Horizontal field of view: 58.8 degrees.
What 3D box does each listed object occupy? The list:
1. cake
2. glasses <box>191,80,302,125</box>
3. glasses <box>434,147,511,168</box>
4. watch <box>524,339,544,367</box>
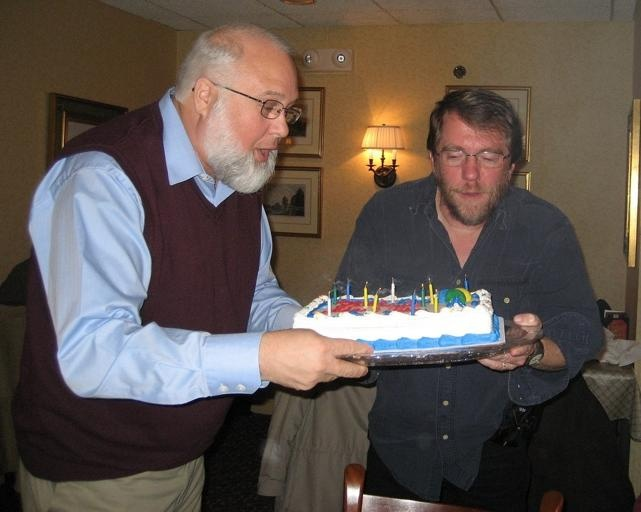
[{"bbox_3d":[0.345,0.255,2.188,0.549,0.132,0.338,0,3,6],"label":"cake"},{"bbox_3d":[-0.228,-0.571,2.115,0.180,0.052,0.176,36,15,23],"label":"glasses"},{"bbox_3d":[0.634,-0.407,2.336,0.278,0.092,0.087,0,9,14],"label":"glasses"},{"bbox_3d":[0.801,0.376,2.158,0.037,0.096,0.101,26,37,-7],"label":"watch"}]
